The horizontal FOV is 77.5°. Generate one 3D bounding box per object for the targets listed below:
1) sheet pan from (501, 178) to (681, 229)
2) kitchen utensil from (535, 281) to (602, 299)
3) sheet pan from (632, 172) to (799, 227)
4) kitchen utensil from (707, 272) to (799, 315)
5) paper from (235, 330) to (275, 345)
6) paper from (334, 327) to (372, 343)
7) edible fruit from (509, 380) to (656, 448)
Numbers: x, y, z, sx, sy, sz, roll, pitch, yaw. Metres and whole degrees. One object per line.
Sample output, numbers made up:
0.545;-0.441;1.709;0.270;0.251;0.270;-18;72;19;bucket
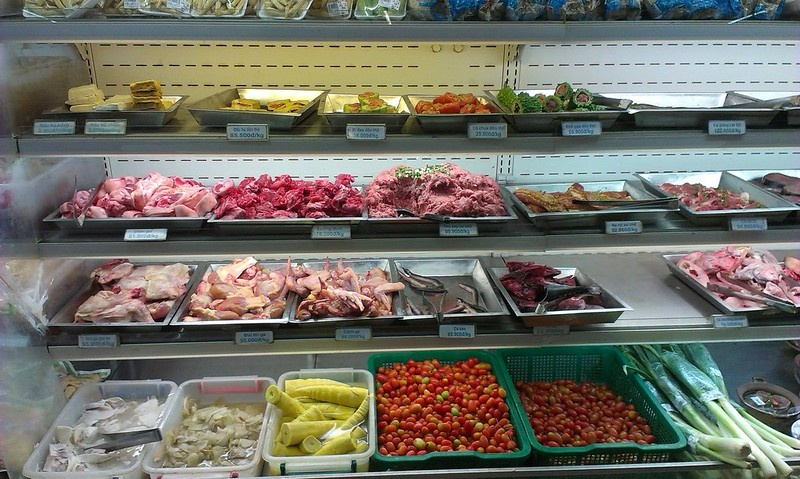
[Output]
1.155;-0.231;3.029;0.689;0.086;0.447;-3;26;-4;sheet pan
1.027;0.308;3.099;0.401;0.139;0.123;-4;2;-7;kitchen utensil
2.038;-0.297;3.269;0.552;0.083;0.514;-4;28;-10;sheet pan
2.157;0.341;3.168;0.573;0.093;0.162;22;58;36;kitchen utensil
-0.841;0.567;2.829;0.129;0.026;0.110;0;8;-2;paper
-0.267;0.549;2.895;0.125;0.025;0.108;1;14;2;paper
1.157;1.117;3.170;0.496;0.120;0.452;-2;28;-7;edible fruit
